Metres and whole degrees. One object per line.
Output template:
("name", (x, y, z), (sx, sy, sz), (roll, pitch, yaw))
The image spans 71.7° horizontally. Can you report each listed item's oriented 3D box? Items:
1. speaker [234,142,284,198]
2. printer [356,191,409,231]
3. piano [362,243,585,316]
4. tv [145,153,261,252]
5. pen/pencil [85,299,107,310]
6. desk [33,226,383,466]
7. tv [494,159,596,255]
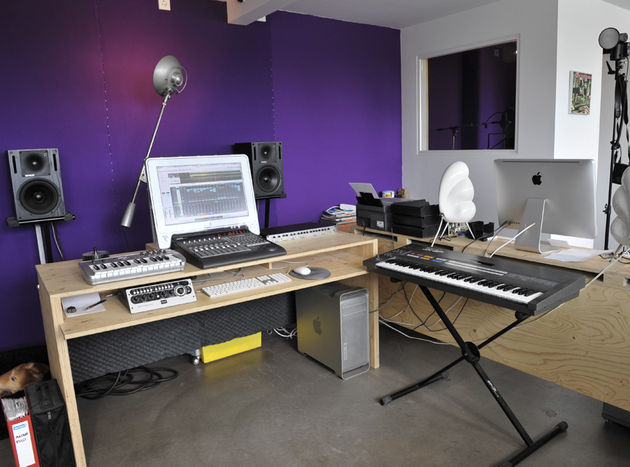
("speaker", (-0.379, -0.502, 3.648), (0.260, 0.423, 0.305), (-3, -3, 8))
("printer", (0.553, -0.190, 3.535), (0.322, 0.325, 0.312), (-11, 15, -43))
("piano", (0.881, 0.244, 2.510), (1.089, 0.153, 0.467), (8, 18, 42))
("tv", (-0.720, -0.191, 2.784), (0.634, 0.565, 0.243), (-8, 16, -32))
("pen/pencil", (-1.226, 0.397, 2.468), (0.022, 0.014, 0.169), (14, 20, 25))
("desk", (-0.584, 0.563, 2.919), (2.050, 1.024, 0.906), (-13, 15, -32))
("tv", (1.411, -0.174, 2.674), (0.526, 0.505, 0.189), (12, 32, 44))
